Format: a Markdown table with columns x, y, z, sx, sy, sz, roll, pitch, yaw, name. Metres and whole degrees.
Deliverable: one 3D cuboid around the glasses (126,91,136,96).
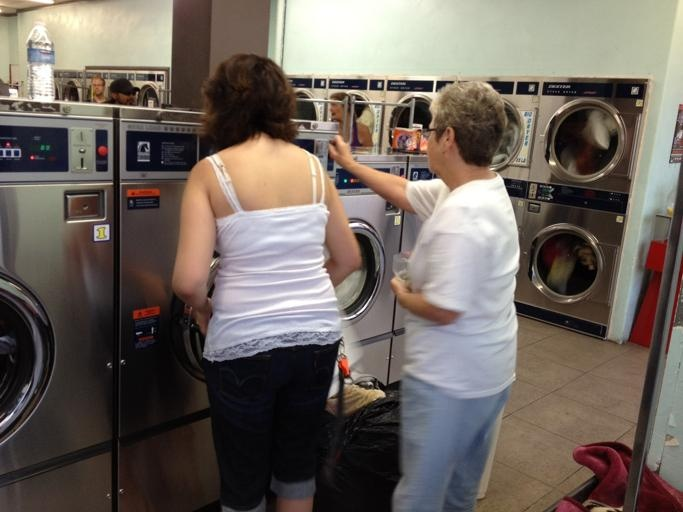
| x | y | z | sx | sy | sz | roll | pitch | yaw | name |
| --- | --- | --- | --- | --- | --- | --- | --- | --- | --- |
| -1.395 | -1.085 | 3.290 | 0.044 | 0.017 | 0.060 | -15 | 10 | -19 | glasses |
